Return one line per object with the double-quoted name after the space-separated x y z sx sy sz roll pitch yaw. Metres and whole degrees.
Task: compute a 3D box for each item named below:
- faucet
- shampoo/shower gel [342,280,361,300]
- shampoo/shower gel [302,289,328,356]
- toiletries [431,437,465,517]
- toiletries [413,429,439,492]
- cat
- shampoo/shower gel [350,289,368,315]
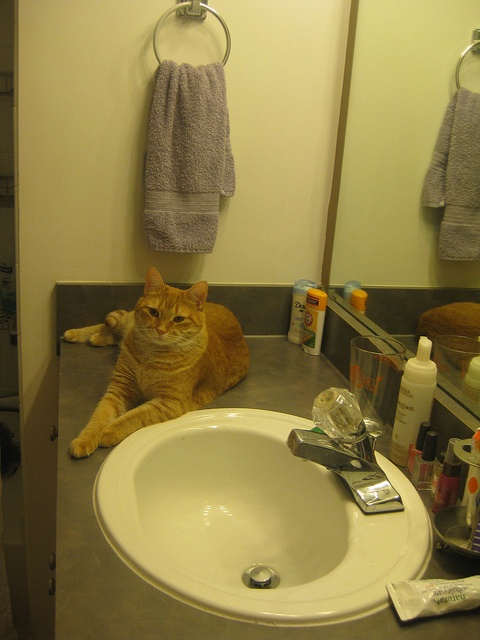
0.163 0.173 0.742 0.168 0.136 0.143 16 21 21 "faucet"
0.266 -0.070 1.257 0.033 0.037 0.038 6 22 13 "shampoo/shower gel"
0.182 0.010 1.294 0.039 0.157 0.063 -7 21 -29 "shampoo/shower gel"
0.271 0.208 0.684 0.026 0.102 0.026 -1 17 -22 "toiletries"
0.267 0.204 0.753 0.034 0.081 0.034 8 4 -20 "toiletries"
-0.185 0.022 1.110 0.407 0.291 0.521 7 23 -9 "cat"
0.272 -0.043 1.204 0.029 0.046 0.048 -3 31 -4 "shampoo/shower gel"
